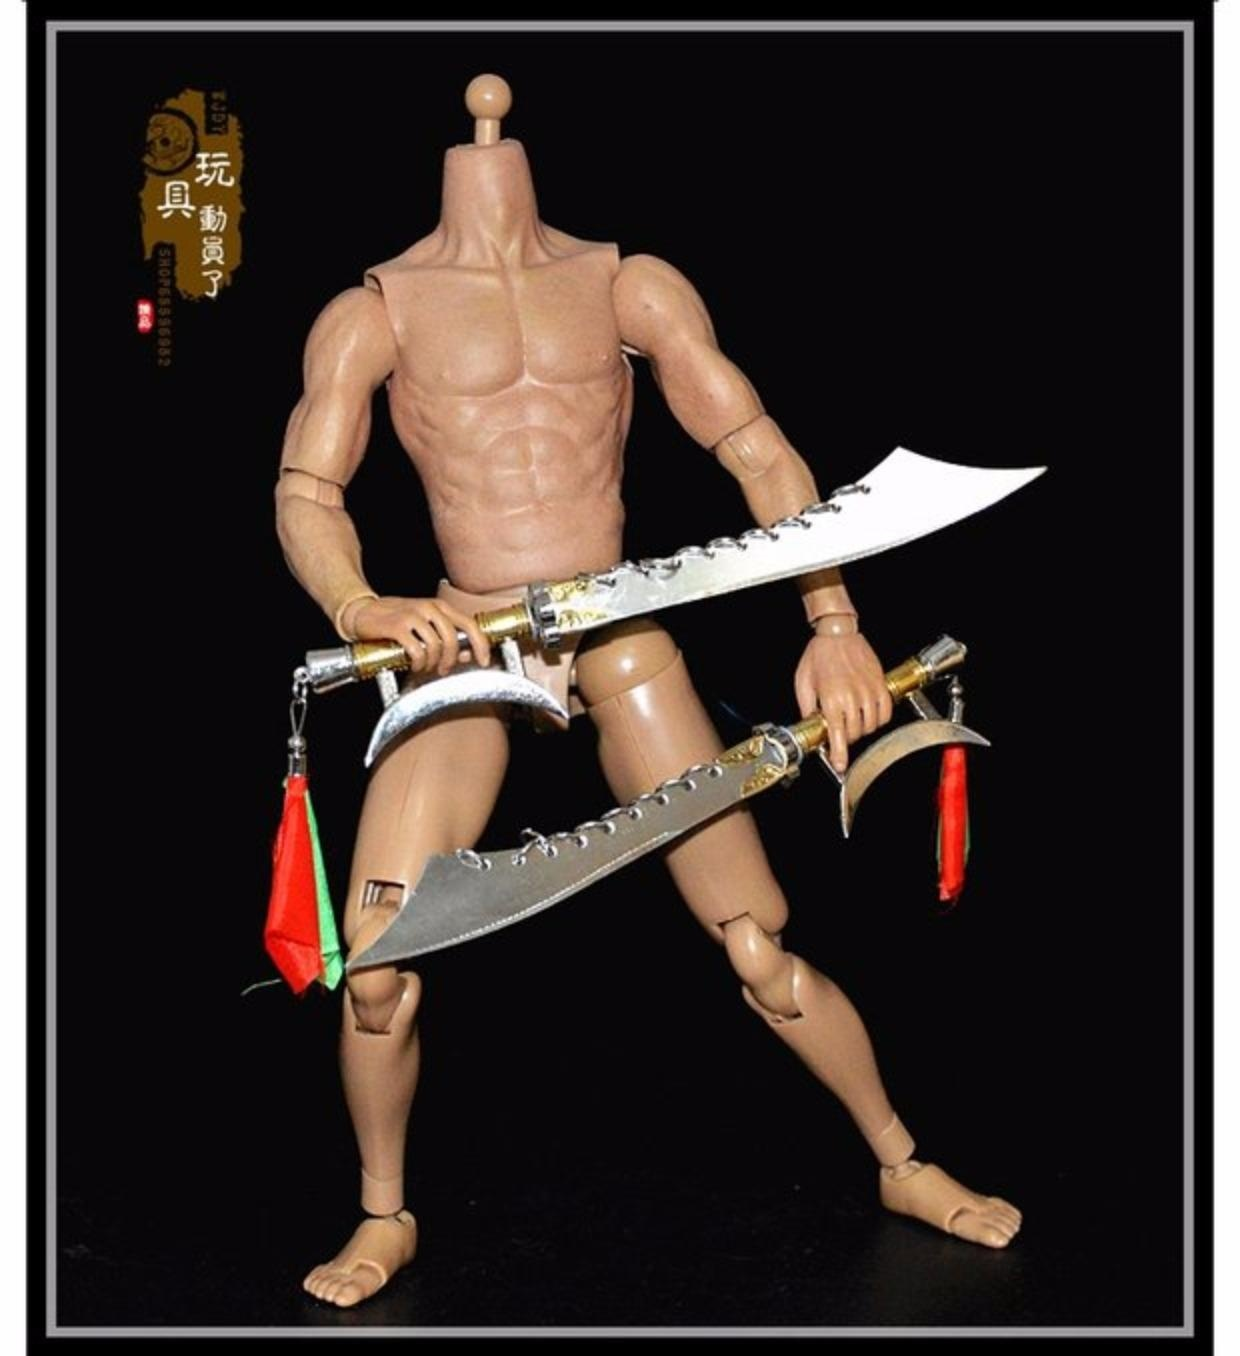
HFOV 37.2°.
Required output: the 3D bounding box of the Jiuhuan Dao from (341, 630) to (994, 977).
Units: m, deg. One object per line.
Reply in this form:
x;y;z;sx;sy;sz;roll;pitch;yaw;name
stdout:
0.101;0.228;2.996;1.120;0.452;0.113;-17;-17;-16;Jiuhuan Dao
